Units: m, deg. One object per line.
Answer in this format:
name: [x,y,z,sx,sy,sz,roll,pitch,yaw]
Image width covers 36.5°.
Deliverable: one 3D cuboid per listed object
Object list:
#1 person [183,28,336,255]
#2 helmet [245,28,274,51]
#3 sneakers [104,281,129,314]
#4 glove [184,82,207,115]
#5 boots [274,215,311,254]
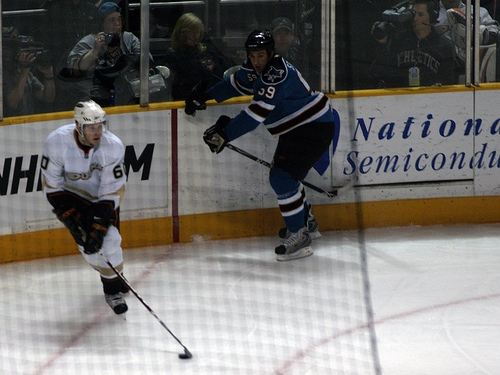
person: [0.052,-0.446,6.564,1.514,2.133,1.048,-12,28,-16]
helmet: [0.092,-1.191,6.115,0.163,0.152,0.204,9,28,34]
sneakers: [-0.991,0.826,5.645,0.094,0.187,0.271,-22,42,-20]
glove: [-0.464,-0.758,6.562,0.173,0.273,0.074,28,6,-18]
boots: [0.389,0.466,6.401,0.404,0.249,0.147,-14,23,-39]
